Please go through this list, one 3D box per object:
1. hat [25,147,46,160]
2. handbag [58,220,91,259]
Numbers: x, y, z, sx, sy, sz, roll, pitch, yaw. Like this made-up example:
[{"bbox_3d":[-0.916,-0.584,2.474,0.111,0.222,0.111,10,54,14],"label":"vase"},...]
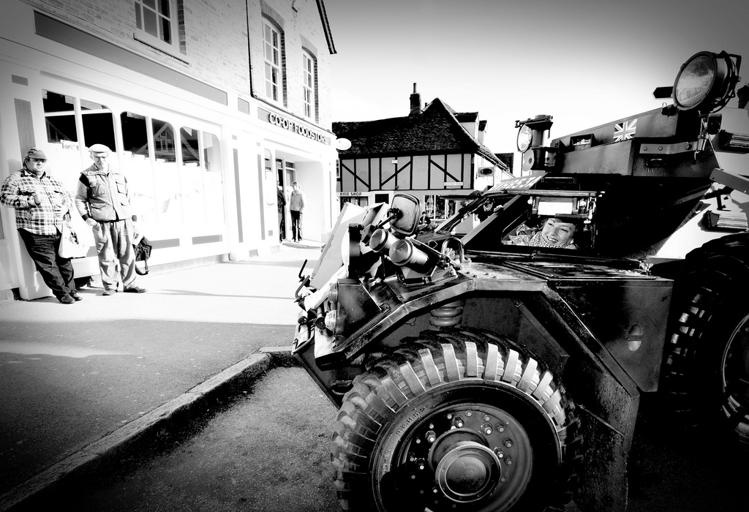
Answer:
[{"bbox_3d":[-4.738,-1.414,7.295,0.228,0.150,0.188,-9,15,-36],"label":"hat"},{"bbox_3d":[-4.503,-0.235,7.788,0.202,0.580,0.569,-8,-4,27],"label":"handbag"}]
